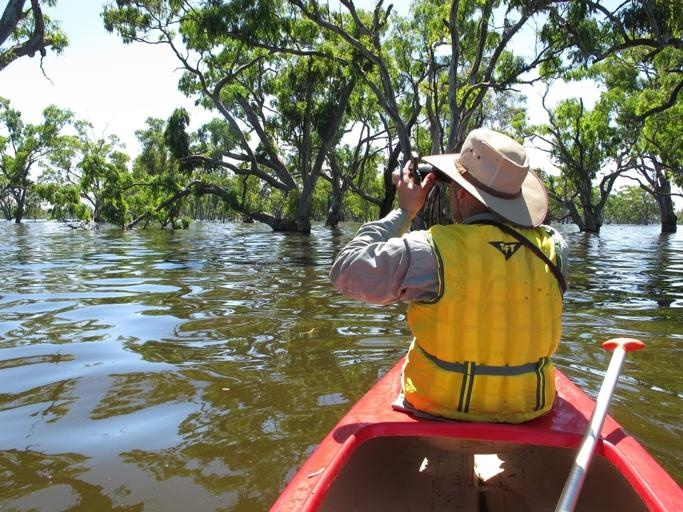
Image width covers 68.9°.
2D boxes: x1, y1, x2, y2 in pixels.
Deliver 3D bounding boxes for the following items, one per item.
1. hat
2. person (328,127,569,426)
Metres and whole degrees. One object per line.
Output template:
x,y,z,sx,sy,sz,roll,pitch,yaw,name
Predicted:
0.788,-0.499,2.595,0.667,0.302,0.622,35,42,26,hat
0.687,0.287,2.828,1.157,1.901,0.946,-1,10,-26,person
